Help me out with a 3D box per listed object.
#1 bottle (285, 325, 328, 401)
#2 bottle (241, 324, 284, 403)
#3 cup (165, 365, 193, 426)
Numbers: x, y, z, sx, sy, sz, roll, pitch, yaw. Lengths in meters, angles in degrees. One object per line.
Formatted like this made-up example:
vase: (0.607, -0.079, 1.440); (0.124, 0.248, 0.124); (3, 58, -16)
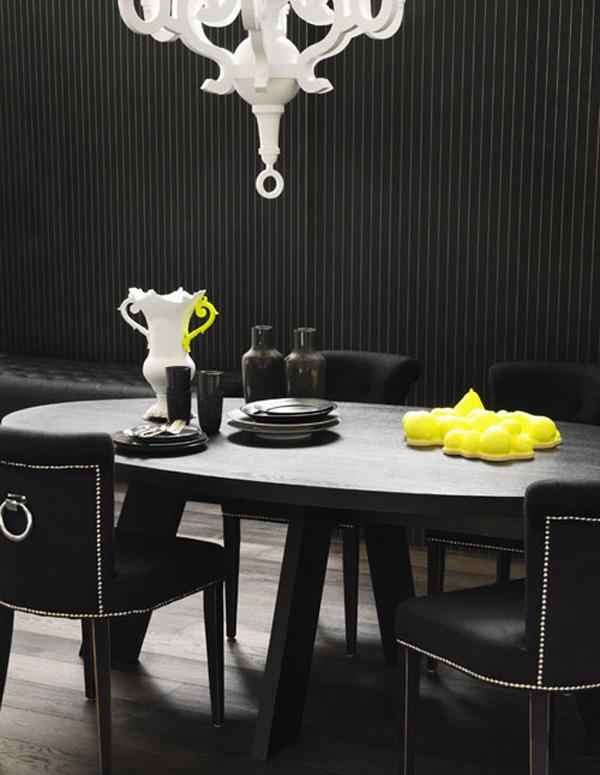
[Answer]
bottle: (-0.005, -0.069, 2.036); (0.143, 0.195, 0.146); (0, 2, 0)
bottle: (-0.098, -0.064, 2.025); (0.133, 0.215, 0.162); (-1, 3, -17)
cup: (-0.303, 0.021, 1.780); (0.071, 0.161, 0.074); (2, 15, 0)
